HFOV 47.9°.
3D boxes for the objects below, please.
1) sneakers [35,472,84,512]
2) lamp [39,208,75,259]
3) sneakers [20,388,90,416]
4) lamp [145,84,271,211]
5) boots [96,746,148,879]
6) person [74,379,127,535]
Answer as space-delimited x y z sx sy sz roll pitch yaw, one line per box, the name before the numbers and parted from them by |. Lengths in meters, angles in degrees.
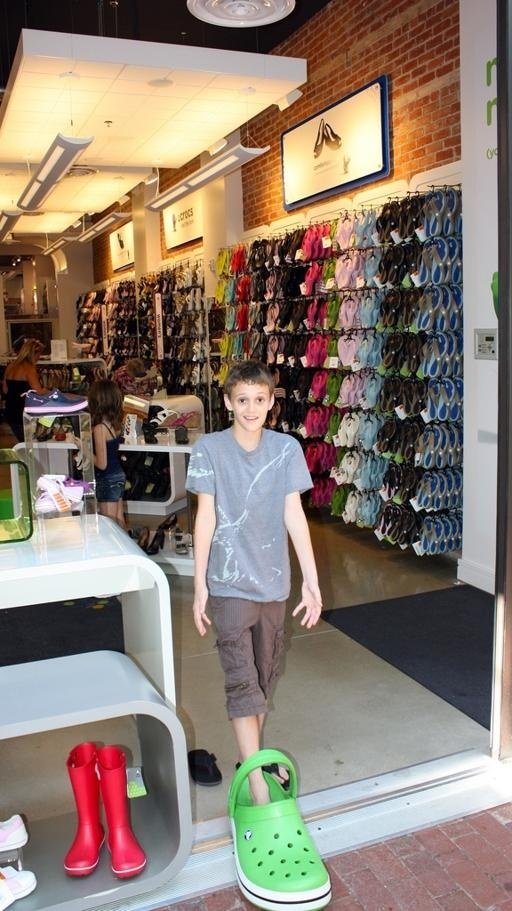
sneakers | -0.550 0.108 1.597 0.059 0.113 0.213 -4 -3 -11
lamp | -4.945 -5.518 14.232 0.618 0.426 1.593 -4 9 -19
sneakers | -0.652 -0.172 1.834 0.178 0.090 0.110 -4 19 -21
lamp | -0.658 -3.284 6.899 0.362 0.463 3.062 -3 6 -25
boots | -0.325 0.808 1.358 0.101 0.297 0.237 -2 5 -17
person | -1.243 0.139 4.570 0.374 1.495 0.347 6 15 13
